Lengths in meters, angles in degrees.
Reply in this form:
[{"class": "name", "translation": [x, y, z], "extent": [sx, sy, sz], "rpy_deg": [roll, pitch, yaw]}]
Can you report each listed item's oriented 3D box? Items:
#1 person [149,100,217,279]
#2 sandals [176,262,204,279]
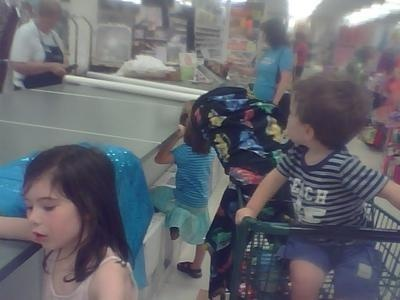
[{"class": "person", "translation": [-0.103, 0.242, 2.146], "extent": [0.406, 1.078, 0.456], "rpy_deg": [4, 12, -10]}, {"class": "sandals", "translation": [-0.071, 0.768, 2.132], "extent": [0.139, 0.057, 0.072], "rpy_deg": [21, 24, 24]}]
